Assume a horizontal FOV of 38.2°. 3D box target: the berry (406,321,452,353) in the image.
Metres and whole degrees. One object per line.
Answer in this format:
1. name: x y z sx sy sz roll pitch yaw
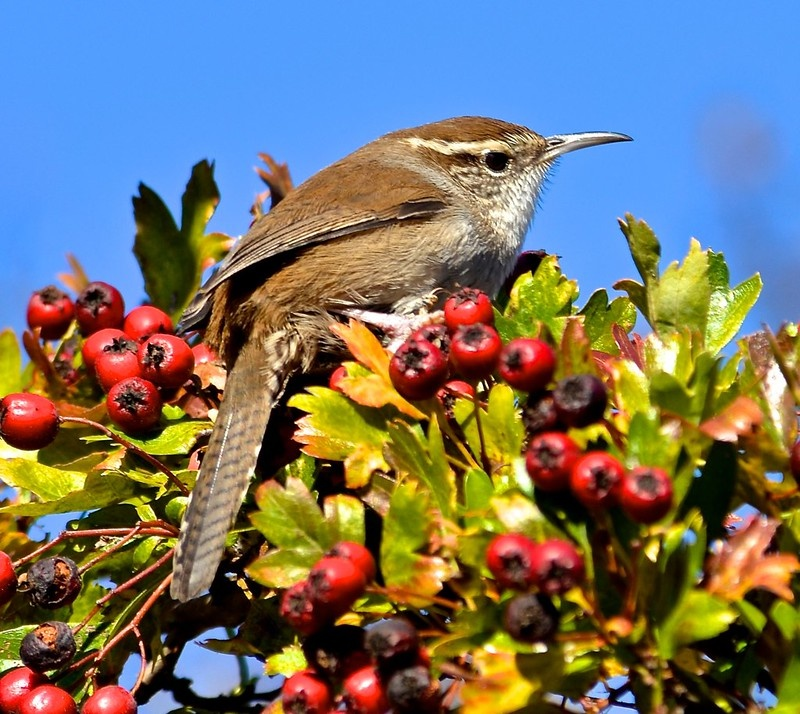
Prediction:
1. berry: 0.038 -0.042 2.494 0.076 0.033 0.067 4 -13 -45

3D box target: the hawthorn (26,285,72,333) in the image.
1. hawthorn: -1.263 -0.148 3.707 0.155 0.166 0.217 7 -10 -18
